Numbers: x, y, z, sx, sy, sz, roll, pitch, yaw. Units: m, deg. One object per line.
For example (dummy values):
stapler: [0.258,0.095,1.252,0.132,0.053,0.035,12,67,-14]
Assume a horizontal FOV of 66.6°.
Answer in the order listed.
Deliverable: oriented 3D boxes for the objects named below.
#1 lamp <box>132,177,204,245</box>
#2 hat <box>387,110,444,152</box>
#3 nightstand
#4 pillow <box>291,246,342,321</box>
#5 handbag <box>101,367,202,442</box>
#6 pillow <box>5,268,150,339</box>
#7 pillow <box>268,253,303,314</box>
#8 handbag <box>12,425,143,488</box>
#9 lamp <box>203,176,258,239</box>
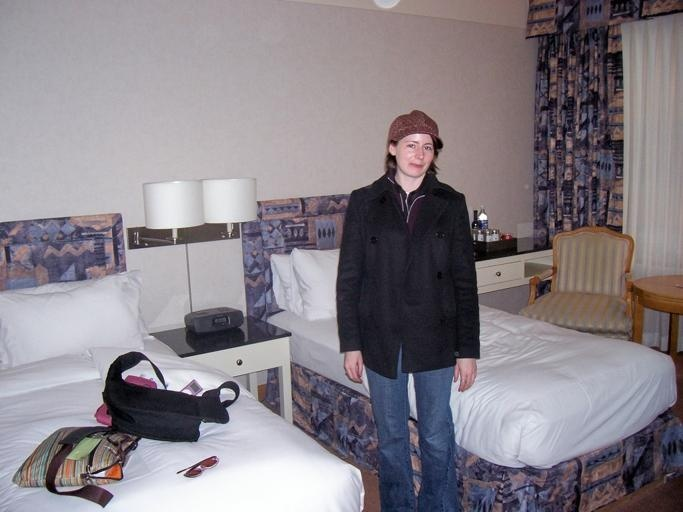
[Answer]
lamp: [-1.166,-0.319,3.540,0.352,0.416,0.345,-2,4,-9]
hat: [0.339,-0.578,2.506,0.171,0.138,0.224,0,1,-30]
nightstand: [-0.866,0.656,3.809,0.897,0.895,0.710,-8,13,-37]
pillow: [-0.191,0.215,4.101,0.502,0.507,0.149,-4,-12,-22]
handbag: [-0.882,0.705,2.425,0.389,0.141,0.296,13,39,-24]
pillow: [-1.713,0.306,3.313,0.449,0.302,0.063,-15,-31,-18]
pillow: [-0.400,0.207,4.301,0.124,0.440,0.363,-15,16,-40]
handbag: [-1.117,0.843,2.179,0.276,0.103,0.262,4,13,8]
lamp: [-0.821,-0.400,3.953,0.323,0.386,0.334,0,8,4]
